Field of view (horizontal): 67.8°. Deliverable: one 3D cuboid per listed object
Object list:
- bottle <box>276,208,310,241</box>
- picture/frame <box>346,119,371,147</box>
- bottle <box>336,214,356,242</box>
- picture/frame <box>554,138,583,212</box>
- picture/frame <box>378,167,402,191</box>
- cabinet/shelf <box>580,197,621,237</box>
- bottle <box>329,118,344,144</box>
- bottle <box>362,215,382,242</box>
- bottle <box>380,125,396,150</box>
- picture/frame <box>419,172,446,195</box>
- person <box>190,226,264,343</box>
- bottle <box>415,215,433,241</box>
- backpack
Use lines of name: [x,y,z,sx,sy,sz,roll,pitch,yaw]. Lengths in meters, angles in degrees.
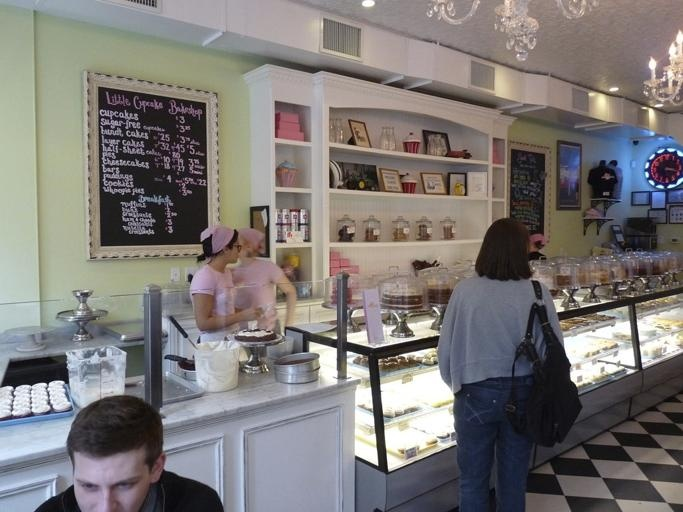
bottle: [-0.439,-0.276,4.436,0.159,0.279,0.297,3,3,43]
picture/frame: [0.156,-1.201,4.940,0.168,0.280,0.268,-1,4,19]
bottle: [0.041,-0.267,4.862,0.170,0.249,0.216,-3,4,-2]
picture/frame: [3.290,-1.199,7.413,0.117,1.472,1.137,0,2,44]
picture/frame: [0.488,-0.792,5.241,0.270,0.221,0.026,14,-28,-43]
cabinet/shelf: [4.047,-0.618,7.984,0.264,0.561,0.672,2,4,45]
bottle: [-0.047,-1.186,4.783,0.112,0.290,0.377,-2,4,4]
bottle: [0.309,-0.282,5.064,0.228,0.298,0.233,-1,0,0]
bottle: [0.463,-1.200,5.173,0.147,0.297,0.315,-2,4,1]
picture/frame: [0.989,-0.797,5.622,0.330,0.224,0.045,-1,-17,-45]
person: [-0.651,0.167,2.939,0.373,0.974,0.388,-7,19,-15]
bottle: [0.906,-0.307,5.534,0.239,0.323,0.240,0,-3,0]
backpack: [1.029,0.538,2.586,0.319,0.813,0.212,-5,5,-30]
